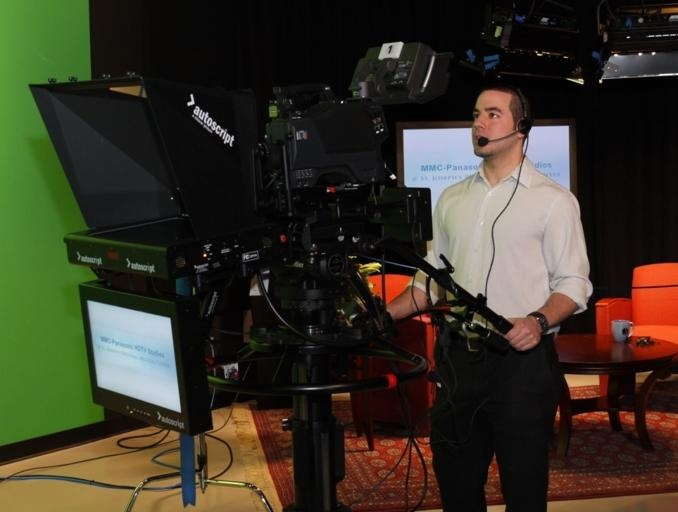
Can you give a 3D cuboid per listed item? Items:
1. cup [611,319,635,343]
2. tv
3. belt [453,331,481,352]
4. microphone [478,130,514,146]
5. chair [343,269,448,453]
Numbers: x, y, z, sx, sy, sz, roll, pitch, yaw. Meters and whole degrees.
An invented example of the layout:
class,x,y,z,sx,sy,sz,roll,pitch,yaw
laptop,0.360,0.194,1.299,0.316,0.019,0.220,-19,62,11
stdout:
class,x,y,z,sx,sy,sz,roll,pitch,yaw
cup,1.972,0.523,4.341,0.158,0.145,0.117,1,-6,11
tv,-0.520,0.259,1.636,0.426,0.342,0.126,5,3,36
belt,0.446,0.295,2.156,0.028,0.064,0.111,-11,14,-40
microphone,0.552,-0.404,2.185,0.100,0.025,0.054,-21,8,-15
chair,0.608,0.684,4.364,0.664,1.113,0.896,3,2,44
